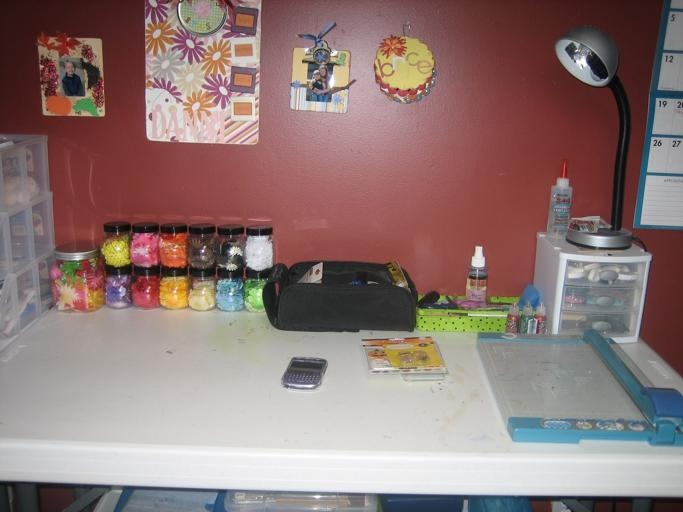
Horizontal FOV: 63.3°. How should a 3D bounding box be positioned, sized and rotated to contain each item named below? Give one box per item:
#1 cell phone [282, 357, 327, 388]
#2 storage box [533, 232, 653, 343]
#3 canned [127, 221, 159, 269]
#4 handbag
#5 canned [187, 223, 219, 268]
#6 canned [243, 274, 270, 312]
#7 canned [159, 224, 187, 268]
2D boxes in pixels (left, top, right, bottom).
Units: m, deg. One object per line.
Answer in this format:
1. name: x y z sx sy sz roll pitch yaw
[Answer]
1. cell phone: -0.101 0.327 1.510 0.103 0.030 0.140 2 21 2
2. storage box: 0.773 0.070 1.862 0.337 0.358 0.314 1 14 4
3. canned: -0.668 -0.036 1.872 0.104 0.149 0.064 -4 14 -11
4. handbag: -0.004 0.134 1.810 0.362 0.145 0.261 0 12 -1
5. canned: -0.469 -0.031 1.867 0.098 0.147 0.075 -9 16 -31
6. canned: -0.291 0.128 1.935 0.112 0.172 0.115 1 2 -18
7. canned: -0.570 -0.033 1.867 0.101 0.146 0.063 -3 14 -8
